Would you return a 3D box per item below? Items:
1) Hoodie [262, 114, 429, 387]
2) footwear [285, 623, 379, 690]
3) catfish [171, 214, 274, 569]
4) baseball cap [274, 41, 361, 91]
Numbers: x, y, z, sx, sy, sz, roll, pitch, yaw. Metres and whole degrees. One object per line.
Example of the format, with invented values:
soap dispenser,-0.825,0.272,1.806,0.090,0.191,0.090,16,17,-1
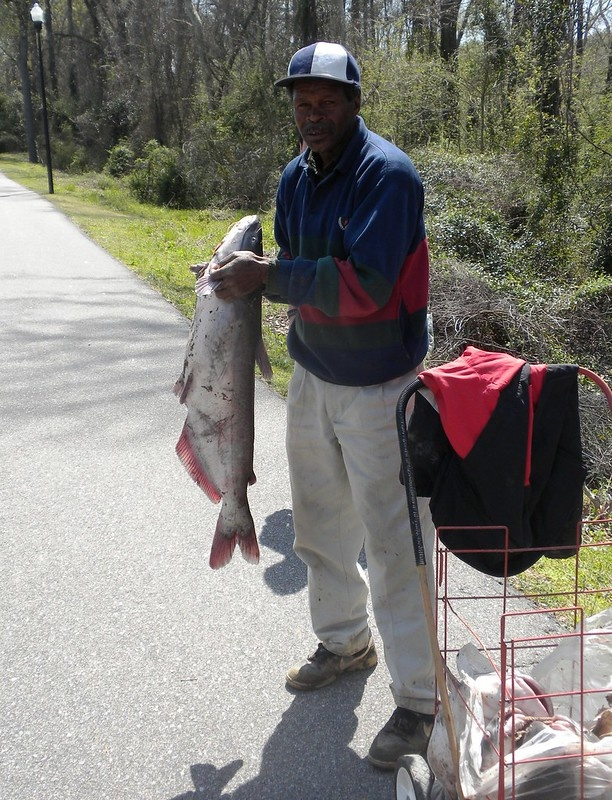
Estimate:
Hoodie,0.102,-0.470,2.441,0.554,0.861,0.503,4,15,26
footwear,0.091,1.000,3.021,0.404,0.161,0.136,-10,12,-25
catfish,-0.298,-0.018,2.773,0.518,1.230,0.305,1,8,-4
baseball cap,0.036,-1.046,2.307,0.221,0.106,0.162,1,9,-34
